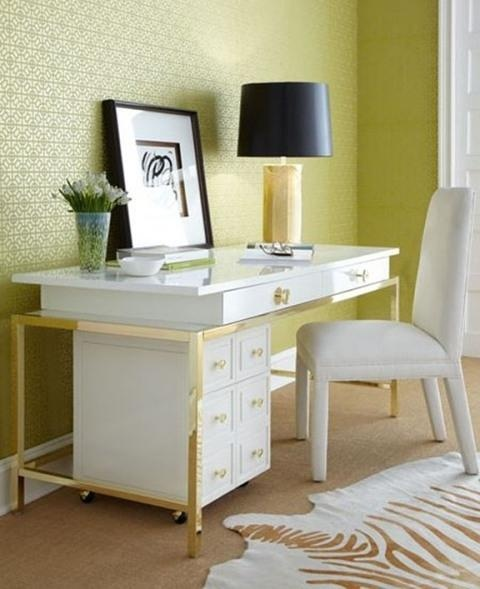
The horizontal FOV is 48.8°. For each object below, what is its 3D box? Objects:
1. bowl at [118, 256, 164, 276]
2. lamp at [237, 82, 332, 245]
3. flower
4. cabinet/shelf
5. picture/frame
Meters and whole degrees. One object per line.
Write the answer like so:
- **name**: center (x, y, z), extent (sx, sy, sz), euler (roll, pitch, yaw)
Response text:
- **bowl**: center (-0.273, -0.067, 1.341), extent (0.167, 0.048, 0.094), euler (-2, -1, 42)
- **lamp**: center (0.171, -0.536, 2.235), extent (0.409, 0.662, 0.399), euler (-7, 16, -30)
- **flower**: center (-0.355, -0.193, 1.448), extent (0.224, 0.298, 0.241), euler (2, 6, 17)
- **cabinet/shelf**: center (-0.149, 0.291, 1.524), extent (0.491, 0.520, 0.446), euler (0, 1, 21)
- **picture/frame**: center (-0.292, -0.412, 1.839), extent (0.060, 0.620, 0.650), euler (-4, -1, 27)
